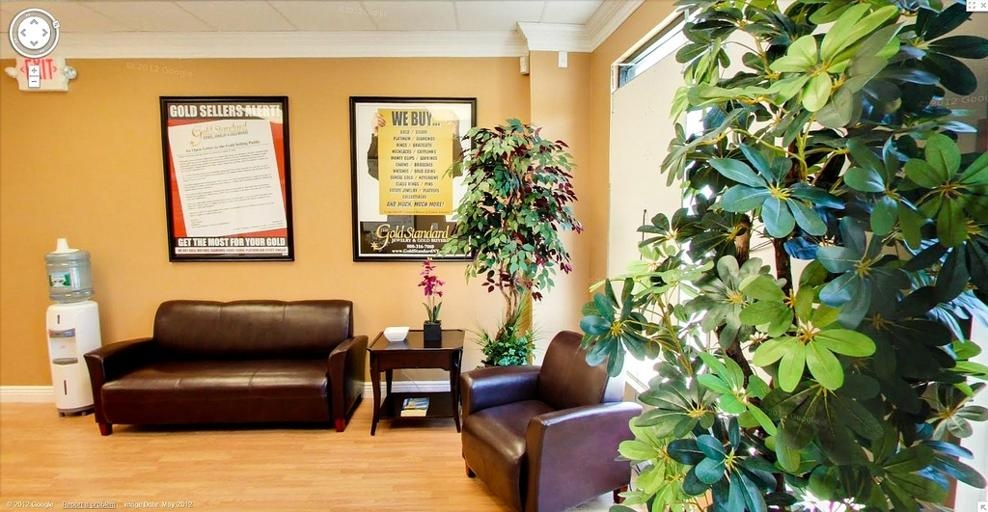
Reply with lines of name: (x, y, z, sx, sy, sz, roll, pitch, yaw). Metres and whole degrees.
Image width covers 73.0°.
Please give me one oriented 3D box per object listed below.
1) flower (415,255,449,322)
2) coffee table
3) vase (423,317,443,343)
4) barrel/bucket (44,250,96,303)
flower: (-0.666, 0.368, 7.199, 0.293, 0.687, 0.578, -2, 3, -6)
coffee table: (-0.803, 1.294, 7.095, 0.971, 1.012, 0.690, -1, 4, -1)
vase: (-0.646, 0.786, 7.044, 0.306, 0.249, 0.207, -2, -5, 9)
barrel/bucket: (-4.563, 0.212, 7.158, 0.408, 0.546, 0.189, -3, 4, -29)
